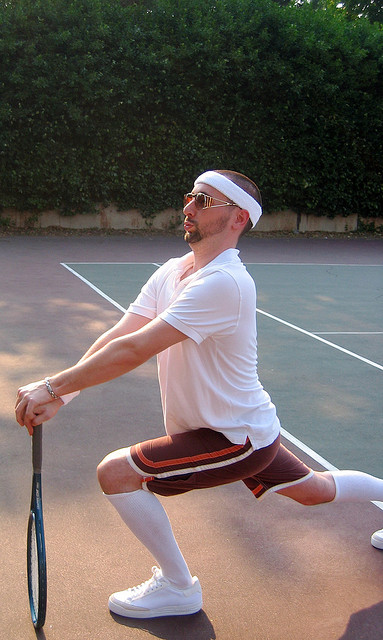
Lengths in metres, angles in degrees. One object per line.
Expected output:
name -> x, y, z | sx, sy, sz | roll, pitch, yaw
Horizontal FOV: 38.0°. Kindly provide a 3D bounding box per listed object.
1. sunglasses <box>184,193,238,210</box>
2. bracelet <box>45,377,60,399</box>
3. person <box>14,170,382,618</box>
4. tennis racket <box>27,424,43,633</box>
sunglasses -> 0.052, -0.408, 1.965 | 0.109, 0.029, 0.083 | 3, 2, -20
bracelet -> -0.434, 0.203, 1.711 | 0.016, 0.051, 0.051 | -20, 43, -10
person -> -0.129, 0.260, 2.026 | 0.883, 1.600, 0.519 | 0, 13, -15
tennis racket -> -0.518, 0.696, 1.854 | 0.047, 0.719, 0.283 | 0, 13, -16
